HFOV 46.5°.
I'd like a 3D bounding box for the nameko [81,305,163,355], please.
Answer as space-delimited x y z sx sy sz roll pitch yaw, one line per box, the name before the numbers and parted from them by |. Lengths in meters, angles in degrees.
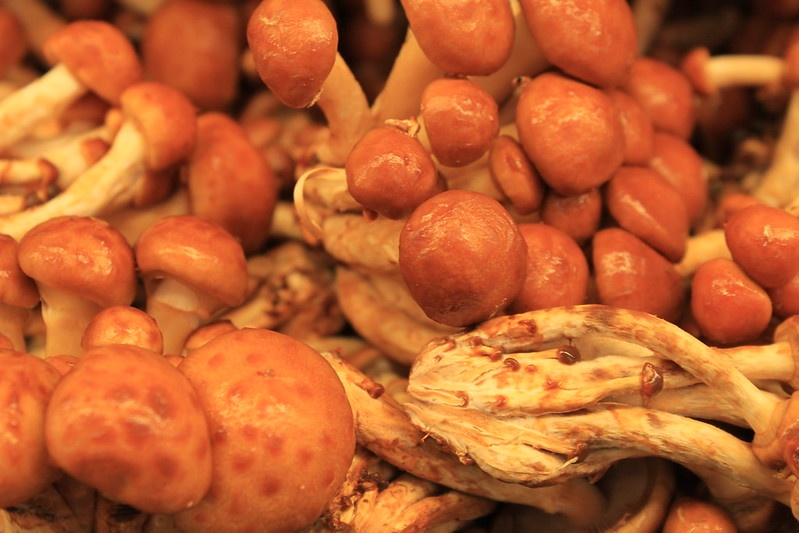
nameko | -0.746 0.177 2.532 0.146 0.118 0.161 38 30 18
